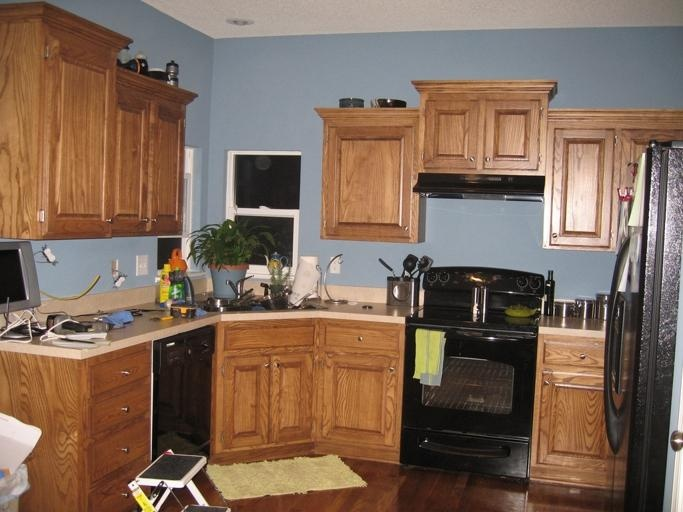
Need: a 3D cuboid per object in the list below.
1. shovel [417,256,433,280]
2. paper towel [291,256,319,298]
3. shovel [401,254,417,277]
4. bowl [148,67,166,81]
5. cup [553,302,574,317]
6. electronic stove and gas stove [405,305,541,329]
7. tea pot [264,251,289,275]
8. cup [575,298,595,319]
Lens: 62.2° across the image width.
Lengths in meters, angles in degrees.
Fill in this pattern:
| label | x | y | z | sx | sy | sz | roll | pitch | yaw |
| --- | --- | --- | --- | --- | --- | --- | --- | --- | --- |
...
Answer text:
| label | x | y | z | sx | sy | sz | roll | pitch | yaw |
| --- | --- | --- | --- | --- | --- | --- | --- | --- | --- |
| shovel | 0.632 | 0.077 | 4.313 | 0.073 | 0.203 | 0.037 | 18 | 12 | 20 |
| paper towel | -0.268 | 0.174 | 4.219 | 0.200 | 0.313 | 0.131 | 18 | 1 | 13 |
| shovel | 0.524 | 0.073 | 4.343 | 0.112 | 0.176 | 0.154 | 3 | 8 | 6 |
| bowl | -1.245 | -1.201 | 3.793 | 0.110 | 0.058 | 0.105 | 2 | 7 | 0 |
| cup | 1.582 | 0.383 | 4.037 | 0.117 | 0.076 | 0.113 | 0 | -2 | 0 |
| electronic stove and gas stove | 0.930 | 0.424 | 3.887 | 0.888 | 0.068 | 0.619 | 1 | 4 | 19 |
| tea pot | -0.513 | 0.060 | 4.486 | 0.206 | 0.208 | 0.115 | -1 | -2 | -4 |
| cup | 1.703 | 0.370 | 3.971 | 0.137 | 0.140 | 0.132 | 3 | 2 | 0 |
